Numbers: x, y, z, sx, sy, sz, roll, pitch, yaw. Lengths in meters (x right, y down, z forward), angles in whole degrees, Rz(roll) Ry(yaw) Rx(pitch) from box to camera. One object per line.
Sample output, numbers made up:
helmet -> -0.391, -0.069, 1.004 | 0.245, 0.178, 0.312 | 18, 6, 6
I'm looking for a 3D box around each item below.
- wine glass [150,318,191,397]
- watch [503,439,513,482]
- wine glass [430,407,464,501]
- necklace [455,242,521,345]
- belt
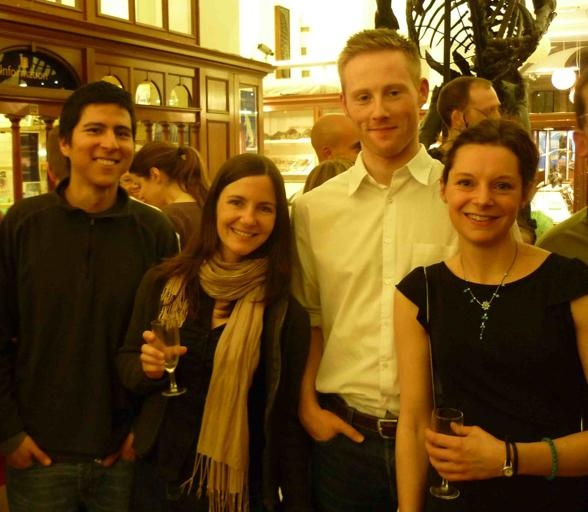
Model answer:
wine glass -> -0.456, 0.387, 1.970 | 0.098, 0.312, 0.194 | 3, 7, 22
watch -> 0.614, 0.584, 1.502 | 0.027, 0.074, 0.051 | -4, -3, 19
wine glass -> 0.472, 0.618, 1.628 | 0.094, 0.338, 0.172 | 2, 7, 16
necklace -> 0.607, 0.130, 1.641 | 0.105, 0.340, 0.037 | -1, -30, 36
belt -> 0.247, 0.598, 1.977 | 0.290, 0.108, 0.047 | 5, 8, 35
